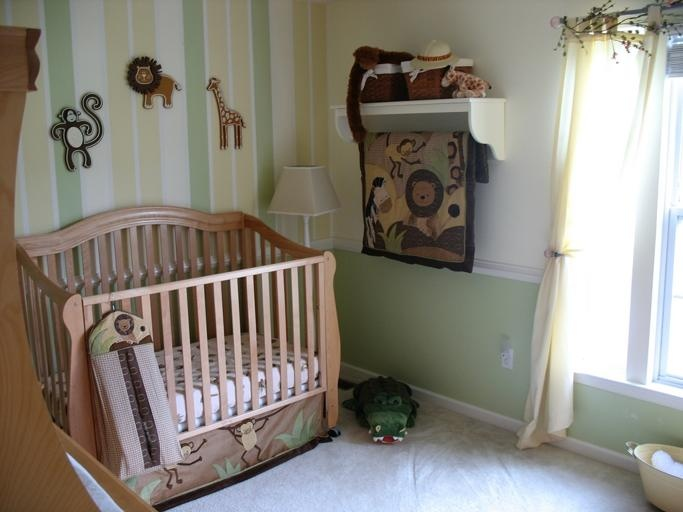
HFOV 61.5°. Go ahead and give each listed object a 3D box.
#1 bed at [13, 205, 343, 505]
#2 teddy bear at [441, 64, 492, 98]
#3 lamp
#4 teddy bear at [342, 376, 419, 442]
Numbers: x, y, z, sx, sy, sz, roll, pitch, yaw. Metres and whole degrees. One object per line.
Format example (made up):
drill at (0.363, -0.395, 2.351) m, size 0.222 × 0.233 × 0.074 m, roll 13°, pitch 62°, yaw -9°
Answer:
bed at (-0.846, 0.367, 3.253) m, size 1.260 × 1.852 × 1.733 m, roll 6°, pitch 10°, yaw 43°
teddy bear at (0.654, -0.910, 3.024) m, size 0.240 × 0.162 × 0.102 m, roll 4°, pitch 13°, yaw 2°
lamp at (-0.210, -0.312, 3.669) m, size 0.437 × 0.749 × 0.462 m, roll 2°, pitch 5°, yaw 26°
teddy bear at (0.260, 0.906, 3.469) m, size 0.462 × 0.227 × 0.677 m, roll 0°, pitch 14°, yaw -7°
